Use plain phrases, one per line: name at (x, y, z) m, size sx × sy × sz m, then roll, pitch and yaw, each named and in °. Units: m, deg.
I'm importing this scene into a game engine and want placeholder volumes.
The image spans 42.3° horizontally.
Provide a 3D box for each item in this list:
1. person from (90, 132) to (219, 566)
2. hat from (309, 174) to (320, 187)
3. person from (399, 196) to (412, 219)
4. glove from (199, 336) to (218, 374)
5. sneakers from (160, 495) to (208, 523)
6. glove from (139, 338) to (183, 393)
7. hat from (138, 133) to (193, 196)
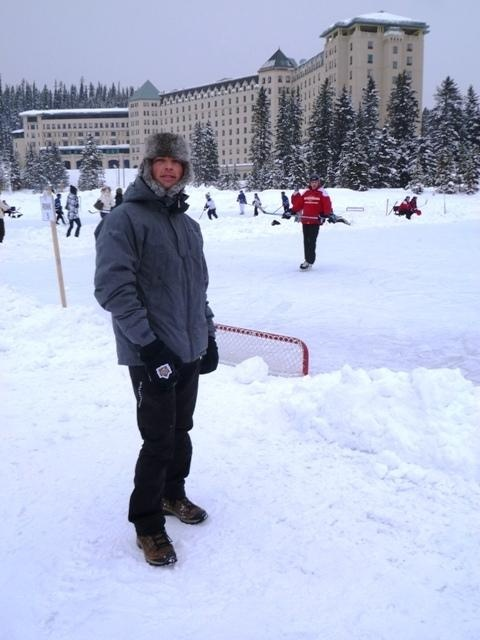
person at (-0.389, 0.119, 2.959) m, size 0.470 × 1.970 × 0.709 m, roll 0°, pitch 14°, yaw 8°
hat at (1.418, -2.646, 11.701) m, size 0.214 × 0.249 × 0.242 m, roll -1°, pitch 55°, yaw 5°
person at (7.938, -5.351, 29.558) m, size 0.615 × 1.009 × 1.885 m, roll 2°, pitch 13°, yaw 14°
glove at (-0.176, 0.195, 3.258) m, size 0.132 × 0.161 × 0.067 m, roll -2°, pitch 0°, yaw -40°
sneakers at (-0.293, 0.997, 3.309) m, size 0.242 × 0.097 × 0.113 m, roll 2°, pitch 8°, yaw 26°
glove at (-0.348, 0.214, 2.693) m, size 0.241 × 0.160 × 0.081 m, roll 14°, pitch 23°, yaw 16°
hat at (-0.350, -0.738, 3.000) m, size 0.283 × 0.304 × 0.328 m, roll 1°, pitch 4°, yaw 1°
